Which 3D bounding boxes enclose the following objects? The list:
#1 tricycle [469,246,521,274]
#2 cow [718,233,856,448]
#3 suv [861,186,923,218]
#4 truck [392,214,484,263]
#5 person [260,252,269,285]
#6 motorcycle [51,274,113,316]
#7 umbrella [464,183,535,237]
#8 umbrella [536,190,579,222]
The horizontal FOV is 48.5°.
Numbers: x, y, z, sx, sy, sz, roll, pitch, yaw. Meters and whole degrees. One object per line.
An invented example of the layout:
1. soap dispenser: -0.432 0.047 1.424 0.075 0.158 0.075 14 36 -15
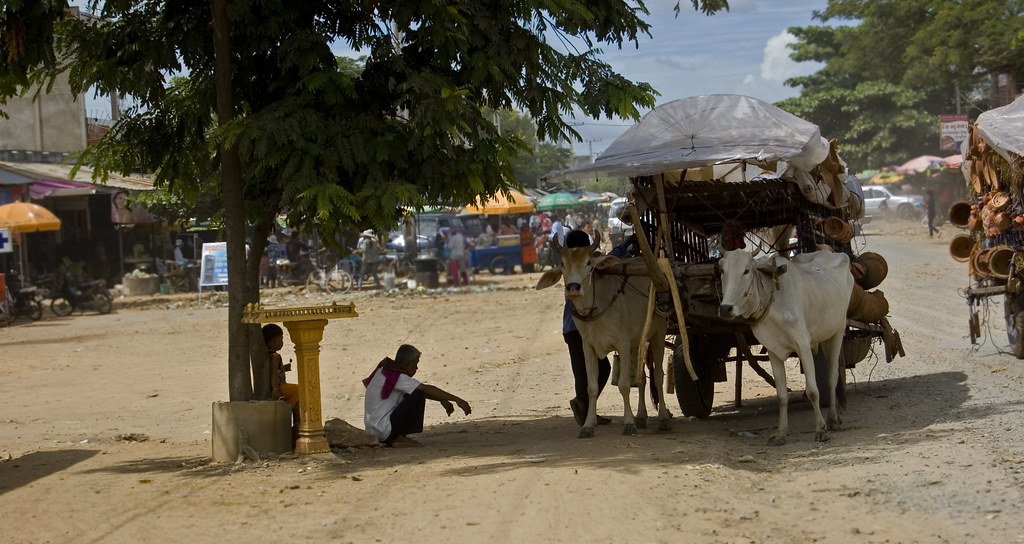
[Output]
1. tricycle: -0.540 -0.461 44.590 1.593 0.811 1.054 -2 0 6
2. cow: 5.057 1.297 20.591 2.940 3.317 1.017 -4 0 -39
3. suv: 20.107 -3.820 60.483 1.477 1.594 3.343 -4 0 -27
4. truck: -3.107 -1.725 47.428 3.356 1.891 2.307 0 -1 -15
5. person: -9.058 -0.076 41.728 0.309 1.233 1.387 -4 0 -12
6. motorcycle: -14.144 0.716 37.392 1.817 1.467 1.238 -4 0 -5
7. umbrella: -0.300 -2.205 42.584 3.003 2.032 3.006 -1 -2 2
8. umbrella: 2.183 -3.281 53.192 2.199 1.372 2.069 -2 1 14
